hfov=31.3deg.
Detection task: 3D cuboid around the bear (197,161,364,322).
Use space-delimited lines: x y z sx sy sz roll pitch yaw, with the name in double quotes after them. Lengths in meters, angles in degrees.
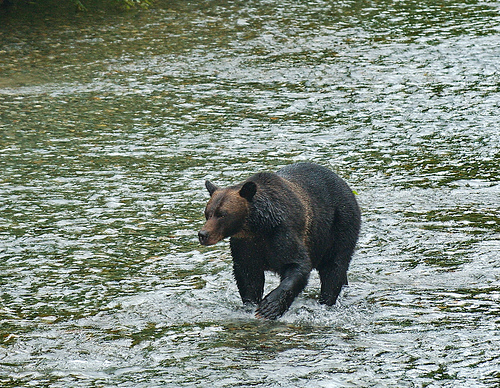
0.432 0.732 11.925 2.615 1.742 2.793 2 25 10 "bear"
